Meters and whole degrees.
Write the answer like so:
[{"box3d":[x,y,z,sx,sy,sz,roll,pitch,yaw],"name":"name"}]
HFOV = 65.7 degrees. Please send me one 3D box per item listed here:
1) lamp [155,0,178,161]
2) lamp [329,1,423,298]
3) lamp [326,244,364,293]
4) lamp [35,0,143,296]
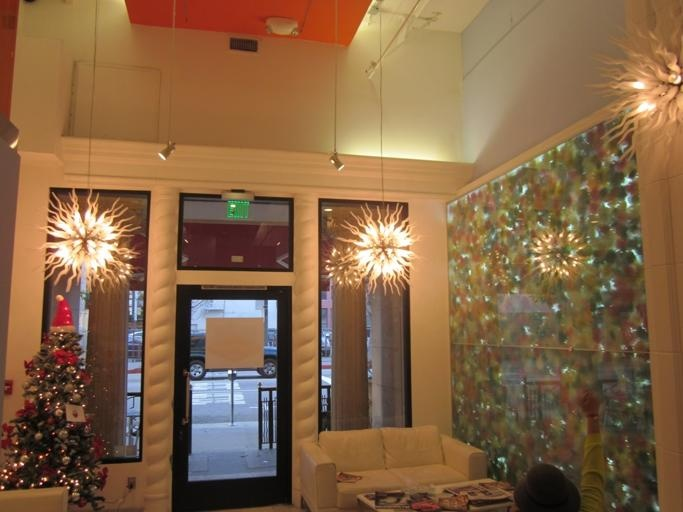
[{"box3d":[-2.189,-2.086,6.640,0.208,1.985,0.813,1,-8,-18],"name":"lamp"},{"box3d":[0.486,-1.534,7.078,1.297,3.941,1.567,0,-7,-11],"name":"lamp"},{"box3d":[0.043,0.134,7.519,0.288,0.680,0.648,-30,-12,38],"name":"lamp"},{"box3d":[-3.042,-1.499,6.412,1.092,3.743,1.738,2,-8,-21],"name":"lamp"}]
